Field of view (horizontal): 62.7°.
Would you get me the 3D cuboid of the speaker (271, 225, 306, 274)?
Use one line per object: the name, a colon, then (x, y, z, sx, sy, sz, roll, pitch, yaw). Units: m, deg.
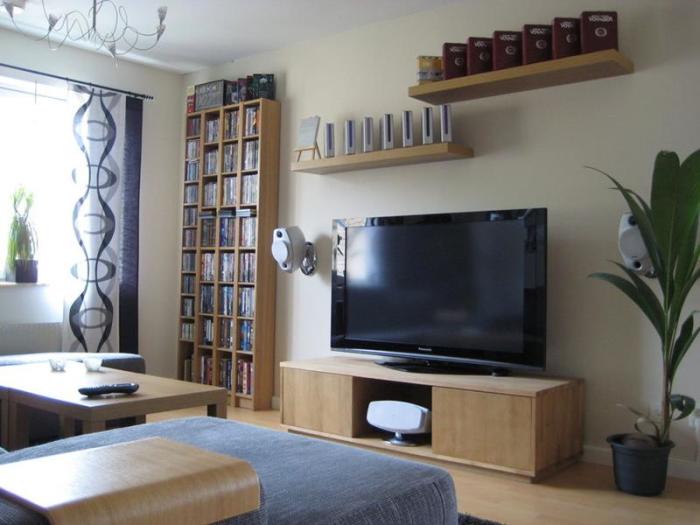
speaker: (-0.451, -0.083, 4.593, 0.225, 0.376, 0.312, -1, 2, 43)

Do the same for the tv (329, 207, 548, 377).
tv: (0.607, 0.206, 3.661, 1.105, 0.700, 0.090, 0, 0, 39)

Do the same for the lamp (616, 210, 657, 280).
lamp: (1.580, -0.085, 3.182, 0.219, 0.331, 0.082, -6, 3, 44)

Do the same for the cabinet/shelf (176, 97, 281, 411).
cabinet/shelf: (-1.079, -0.094, 5.079, 1.119, 2.567, 0.550, 3, 8, 39)

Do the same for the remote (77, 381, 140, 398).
remote: (-1.102, 0.579, 2.614, 0.153, 0.041, 0.045, -1, 9, -30)

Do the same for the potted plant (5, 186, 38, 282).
potted plant: (-2.710, -0.220, 4.694, 0.247, 0.770, 0.249, -6, 8, -34)

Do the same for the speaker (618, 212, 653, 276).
speaker: (1.569, -0.101, 3.159, 0.084, 0.319, 0.210, -11, 4, -42)

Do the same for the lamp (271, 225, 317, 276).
lamp: (-0.443, -0.094, 4.498, 0.291, 0.482, 0.396, -3, -3, 43)
